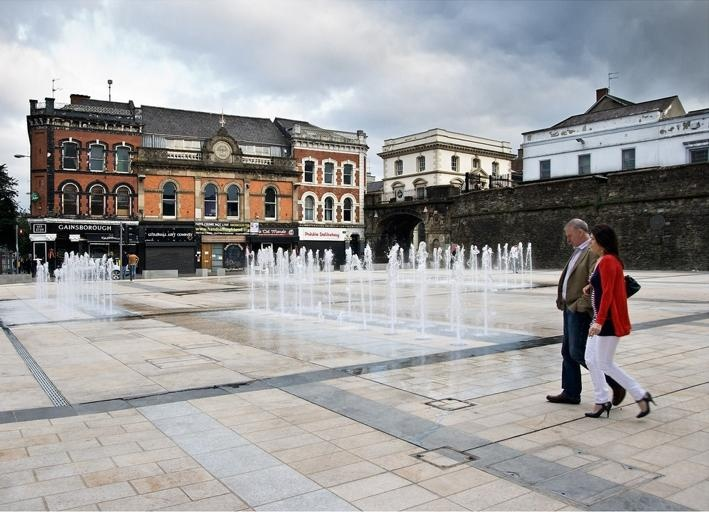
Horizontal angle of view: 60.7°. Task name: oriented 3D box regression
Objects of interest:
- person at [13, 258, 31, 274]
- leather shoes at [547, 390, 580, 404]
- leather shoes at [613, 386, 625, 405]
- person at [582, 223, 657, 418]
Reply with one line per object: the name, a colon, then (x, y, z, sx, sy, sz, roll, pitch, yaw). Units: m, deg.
person: (-25.734, 0.730, 46.949, 1.281, 1.163, 0.669, 2, -4, -35)
leather shoes: (2.813, 1.918, 8.242, 0.445, 0.169, 0.167, 4, -5, 11)
leather shoes: (3.430, 1.811, 7.911, 0.139, 0.321, 0.110, 39, -42, -21)
person: (3.361, 0.830, 7.717, 0.848, 2.429, 0.615, 3, 9, 20)
